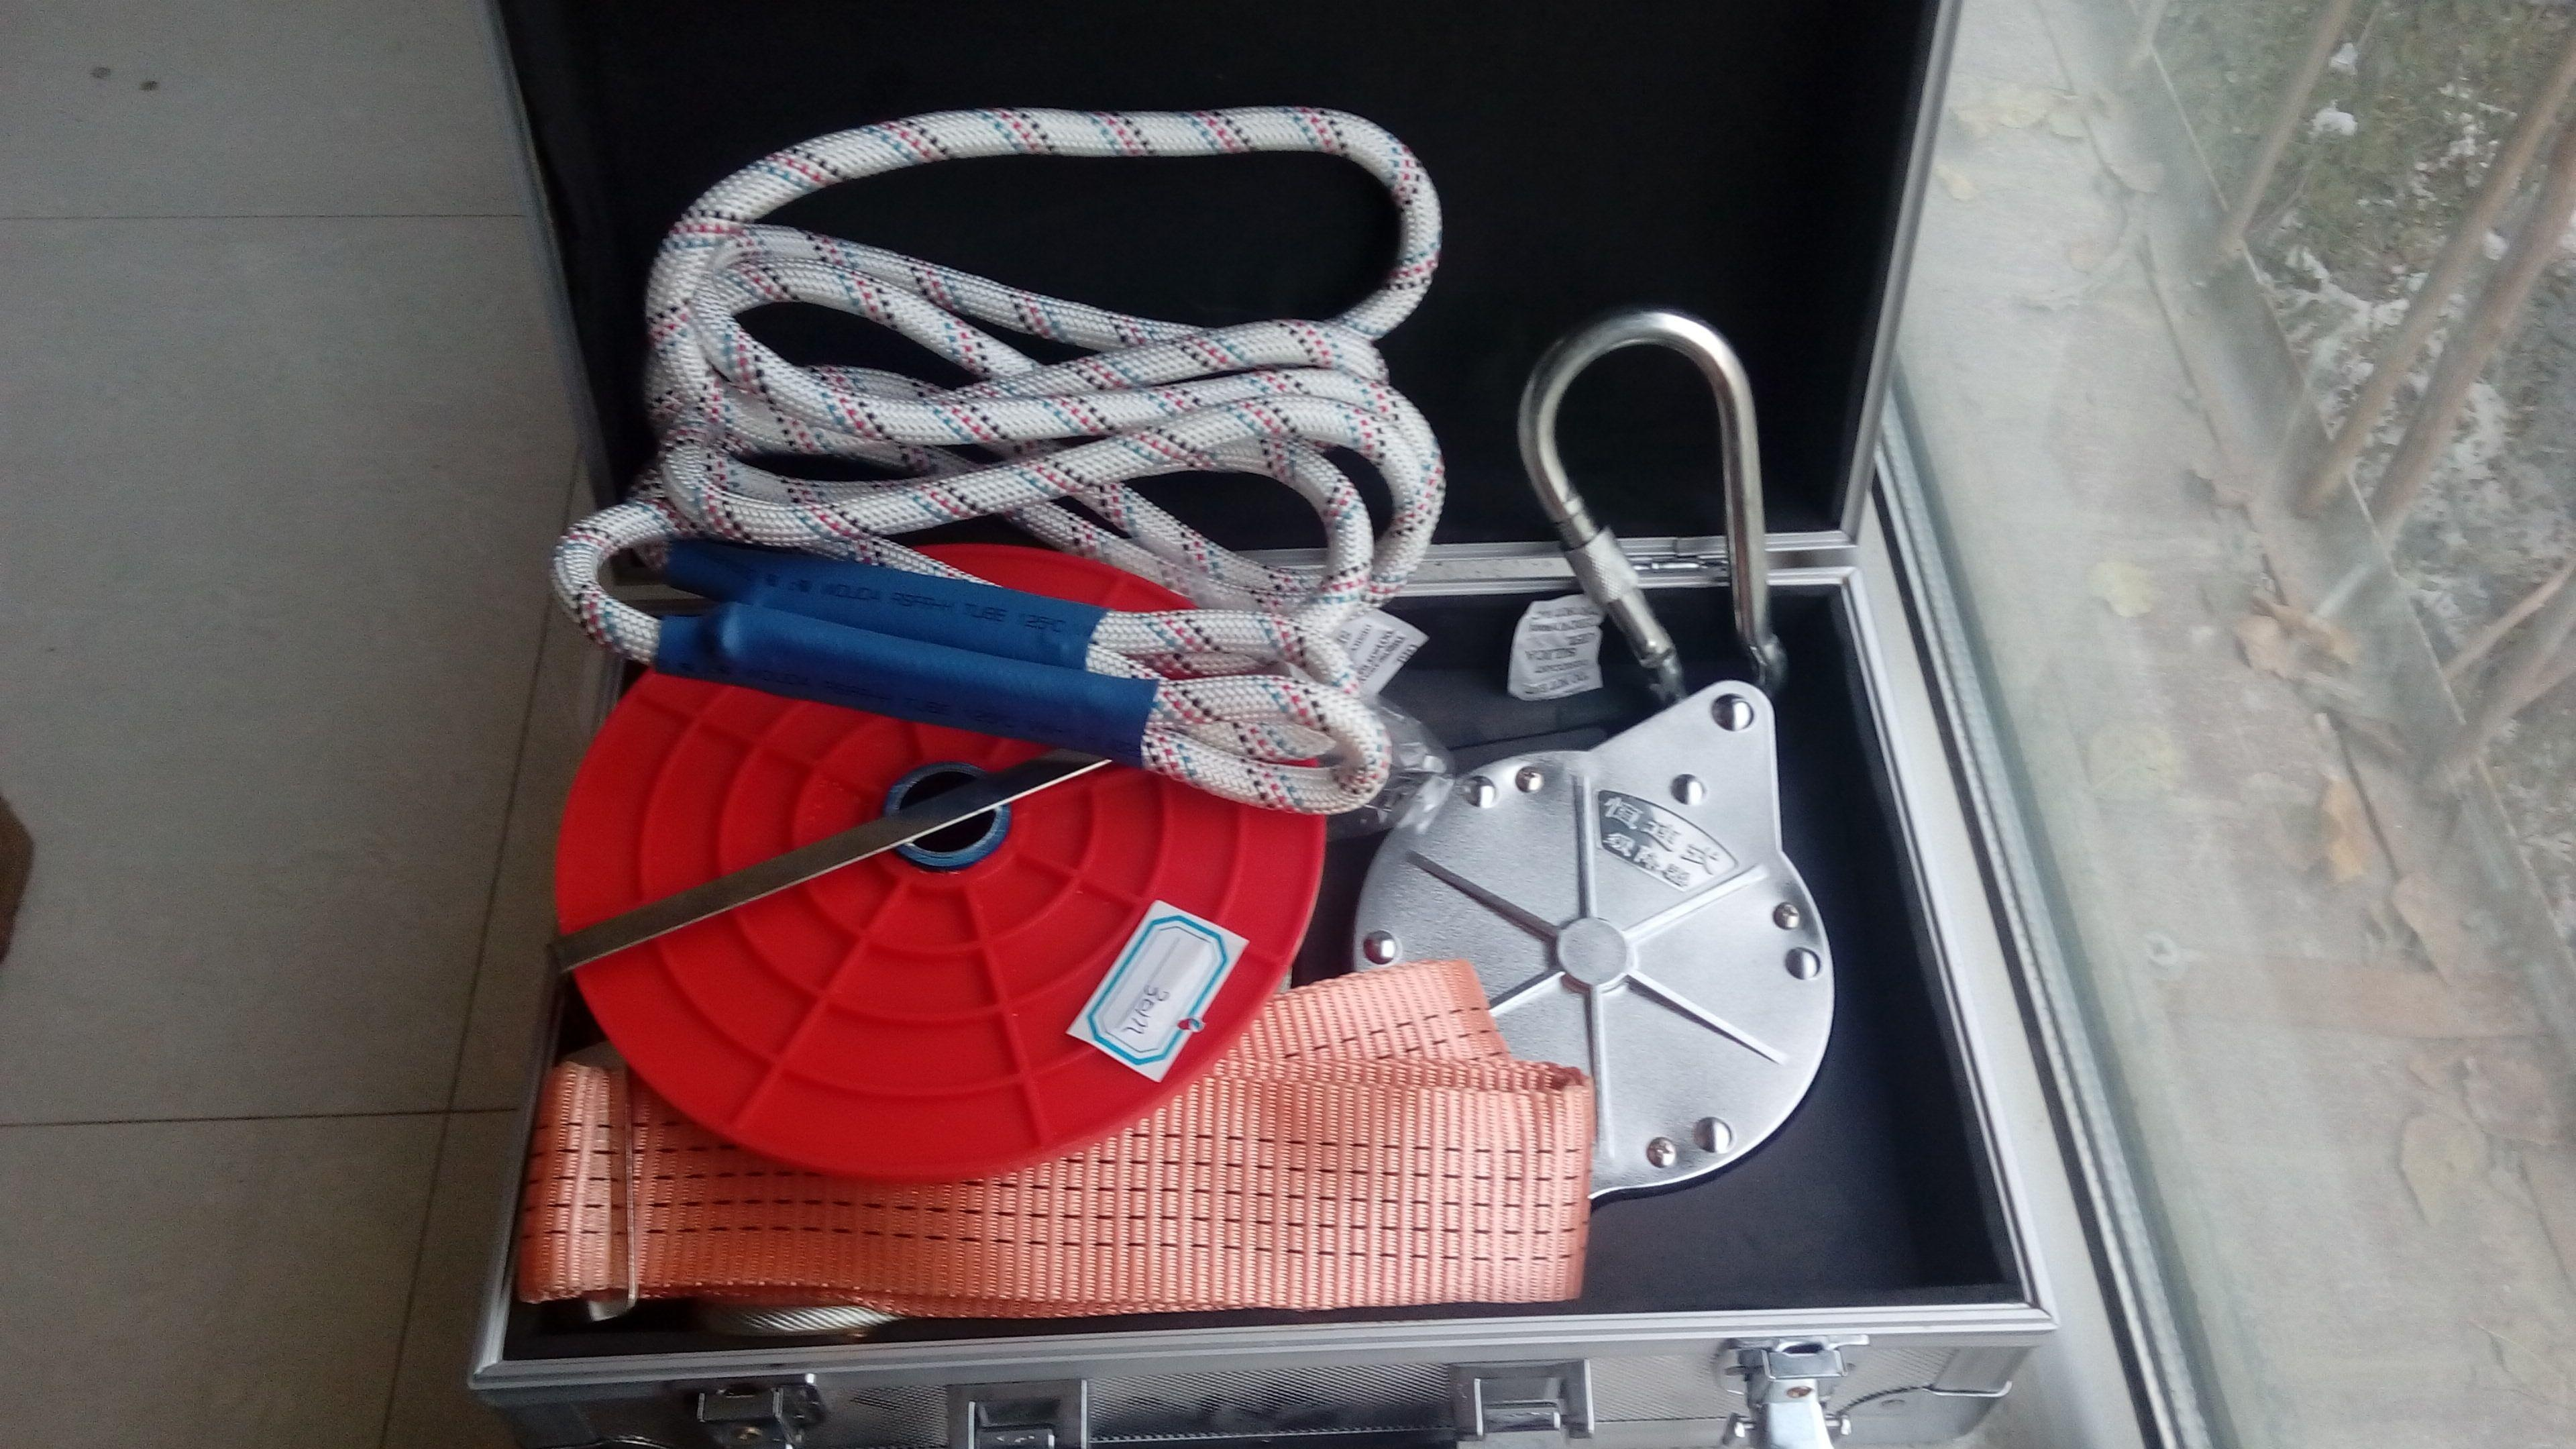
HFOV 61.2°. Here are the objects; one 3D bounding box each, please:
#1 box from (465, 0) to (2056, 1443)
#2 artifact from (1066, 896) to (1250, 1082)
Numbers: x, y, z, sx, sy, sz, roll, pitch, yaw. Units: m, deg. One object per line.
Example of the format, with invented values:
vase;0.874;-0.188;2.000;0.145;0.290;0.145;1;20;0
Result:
box;0.012;0.057;2.027;1.178;0.720;1.068;-1;75;0
artifact;-0.095;0.187;1.510;0.092;0.031;0.124;30;75;6
